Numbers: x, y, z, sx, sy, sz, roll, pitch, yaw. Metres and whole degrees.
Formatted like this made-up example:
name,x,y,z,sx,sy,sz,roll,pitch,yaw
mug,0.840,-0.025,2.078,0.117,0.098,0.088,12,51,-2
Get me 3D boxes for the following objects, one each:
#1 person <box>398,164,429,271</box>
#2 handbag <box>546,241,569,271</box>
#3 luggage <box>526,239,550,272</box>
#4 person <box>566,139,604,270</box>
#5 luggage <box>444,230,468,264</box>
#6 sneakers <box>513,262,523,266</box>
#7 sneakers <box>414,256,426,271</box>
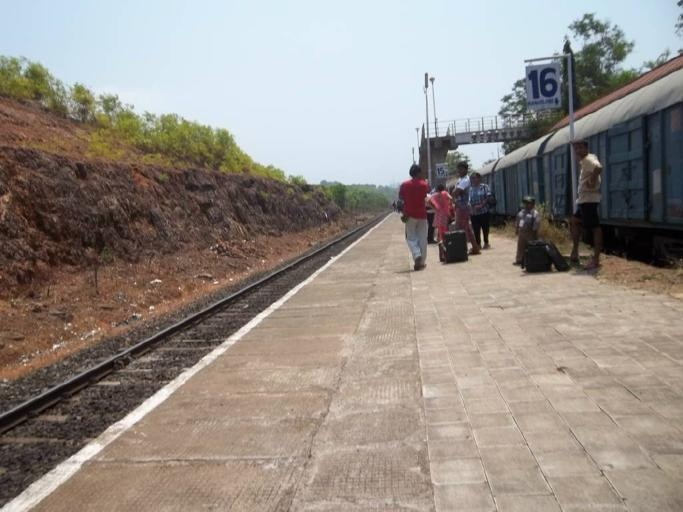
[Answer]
name,x,y,z,sx,sy,sz,roll,pitch,yaw
person,1.816,-0.952,13.153,0.756,2.619,0.672,-4,6,-4
handbag,4.377,0.025,10.783,0.163,0.606,0.458,-29,9,8
luggage,3.982,0.015,11.045,0.459,0.823,0.559,-1,1,9
person,4.928,-1.019,10.619,0.582,2.579,1.214,-1,7,24
luggage,2.993,-0.372,13.853,0.576,0.981,0.502,-4,27,12
sneakers,4.051,0.183,12.079,0.155,0.103,0.228,-11,9,-42
sneakers,1.953,0.207,13.226,0.161,0.525,0.225,0,46,-4
